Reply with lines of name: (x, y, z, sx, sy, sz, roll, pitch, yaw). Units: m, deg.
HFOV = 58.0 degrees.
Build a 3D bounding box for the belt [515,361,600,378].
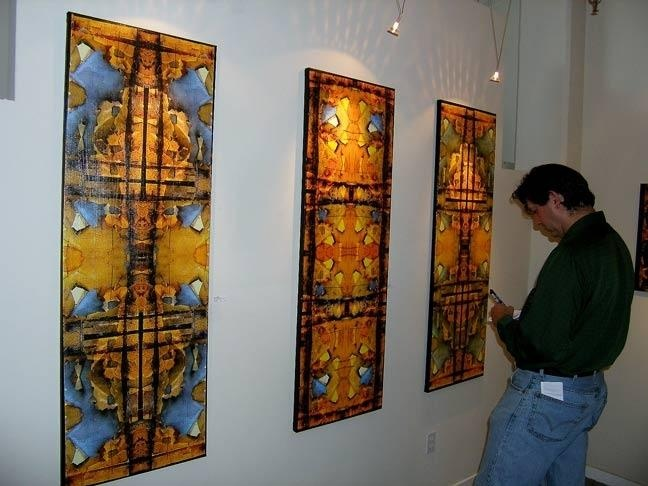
belt: (1.354, 0.733, 3.356, 0.456, 0.053, 0.145, 0, 4, 9)
